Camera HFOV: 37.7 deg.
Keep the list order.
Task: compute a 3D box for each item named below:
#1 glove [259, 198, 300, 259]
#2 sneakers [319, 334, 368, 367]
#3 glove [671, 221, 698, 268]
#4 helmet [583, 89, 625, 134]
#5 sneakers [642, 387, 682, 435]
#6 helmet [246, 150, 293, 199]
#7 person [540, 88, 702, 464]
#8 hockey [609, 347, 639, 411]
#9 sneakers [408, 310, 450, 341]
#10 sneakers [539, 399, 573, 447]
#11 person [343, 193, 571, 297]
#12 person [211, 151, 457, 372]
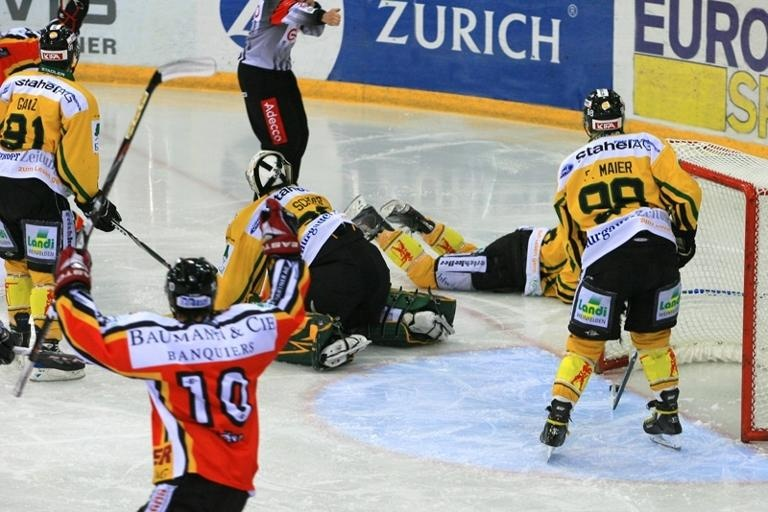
[{"bbox_3d":[-0.504,-0.132,5.173,0.180,0.278,0.132,-28,0,3],"label":"glove"},{"bbox_3d":[-0.257,0.573,6.934,0.346,0.128,0.131,-18,-1,-38],"label":"sneakers"},{"bbox_3d":[1.708,-0.071,6.282,0.155,0.284,0.100,9,10,-5],"label":"glove"},{"bbox_3d":[1.242,-0.829,6.347,0.237,0.260,0.274,-1,27,7],"label":"helmet"},{"bbox_3d":[1.578,0.860,6.241,0.163,0.254,0.290,-6,-4,-19],"label":"sneakers"},{"bbox_3d":[-0.714,-0.505,6.972,0.184,0.293,0.319,8,8,36],"label":"helmet"},{"bbox_3d":[1.322,0.169,6.133,0.809,1.687,0.560,5,7,7],"label":"person"},{"bbox_3d":[1.469,0.740,6.731,0.055,0.409,0.049,28,21,25],"label":"hockey"},{"bbox_3d":[0.290,0.439,7.145,0.182,0.092,0.238,19,-12,-36],"label":"sneakers"},{"bbox_3d":[0.961,0.892,6.085,0.196,0.248,0.107,14,-7,13],"label":"sneakers"},{"bbox_3d":[0.637,0.002,8.133,1.417,0.410,0.780,17,26,25],"label":"person"},{"bbox_3d":[-0.323,0.025,7.023,1.755,1.152,1.151,13,20,33],"label":"person"}]
